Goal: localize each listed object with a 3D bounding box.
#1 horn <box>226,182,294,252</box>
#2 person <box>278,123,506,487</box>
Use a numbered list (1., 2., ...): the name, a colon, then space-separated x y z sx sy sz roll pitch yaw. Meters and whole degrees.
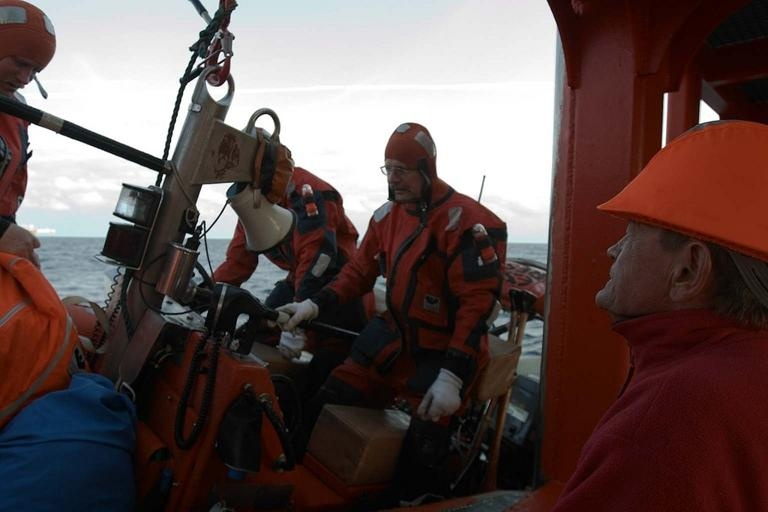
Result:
1. horn: -0.639 -0.180 2.815 0.186 0.344 0.373 10 -4 29
2. person: 0.193 0.194 3.202 1.006 2.231 1.149 0 5 -45
